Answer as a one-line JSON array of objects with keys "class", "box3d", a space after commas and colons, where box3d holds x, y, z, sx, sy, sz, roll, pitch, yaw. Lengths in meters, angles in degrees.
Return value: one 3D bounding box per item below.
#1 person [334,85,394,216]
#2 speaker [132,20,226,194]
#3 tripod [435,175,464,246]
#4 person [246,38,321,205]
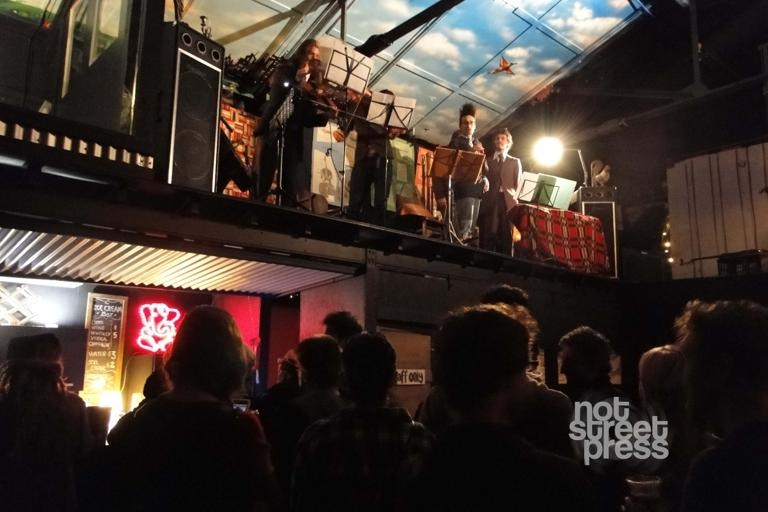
[{"class": "person", "box3d": [-0.265, -1.403, 9.653, 0.755, 1.849, 1.488, 2, -11, 0]}, {"class": "speaker", "box3d": [-2.207, -1.645, 7.111, 0.826, 1.830, 0.394, 6, -12, -16]}, {"class": "tripod", "box3d": [1.006, -0.682, 10.023, 0.486, 1.055, 1.236, 1, -11, 5]}, {"class": "person", "box3d": [-1.376, -1.761, 8.987, 0.809, 2.447, 1.456, 5, -12, -13]}]
